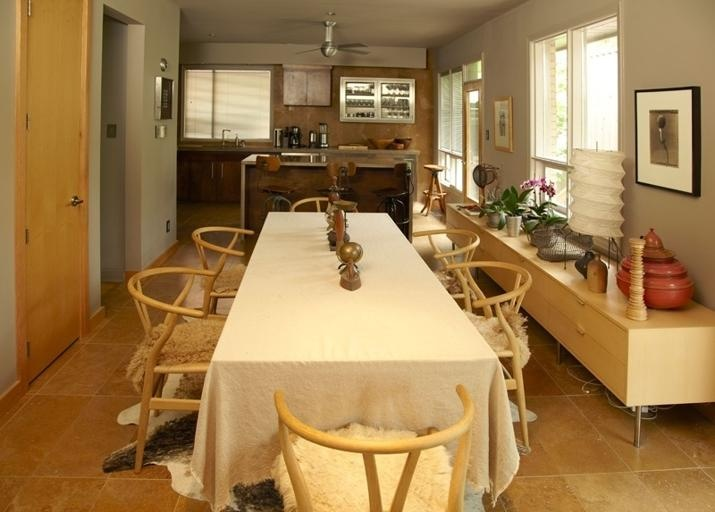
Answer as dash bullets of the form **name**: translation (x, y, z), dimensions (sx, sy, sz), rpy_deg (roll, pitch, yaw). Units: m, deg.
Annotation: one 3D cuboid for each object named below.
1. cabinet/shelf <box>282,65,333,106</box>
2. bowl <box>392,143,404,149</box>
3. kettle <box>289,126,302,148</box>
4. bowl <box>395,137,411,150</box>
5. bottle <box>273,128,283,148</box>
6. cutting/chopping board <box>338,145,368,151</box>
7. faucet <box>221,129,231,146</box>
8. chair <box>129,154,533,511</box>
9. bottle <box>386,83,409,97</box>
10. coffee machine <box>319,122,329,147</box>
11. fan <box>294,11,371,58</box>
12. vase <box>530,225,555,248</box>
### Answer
- **cabinet/shelf**: translation (-1.002, -3.360, 9.970), dimensions (0.669, 0.597, 0.245), rpy_deg (0, 7, -4)
- **bowl**: translation (0.779, -2.136, 9.924), dimensions (0.179, 0.109, 0.186), rpy_deg (0, 16, 0)
- **kettle**: translation (-1.235, -2.355, 10.087), dimensions (0.290, 0.396, 0.179), rpy_deg (-7, 17, -24)
- **bowl**: translation (0.893, -2.231, 10.062), dimensions (0.290, 0.198, 0.299), rpy_deg (-1, 11, 0)
- **bottle**: translation (-1.564, -2.346, 10.097), dimensions (0.191, 0.339, 0.245), rpy_deg (-3, 16, -9)
- **cutting/chopping board**: translation (-0.091, -2.096, 9.879), dimensions (0.568, 0.072, 0.733), rpy_deg (-1, 16, -4)
- **faucet**: translation (-2.687, -2.422, 10.331), dimensions (0.171, 0.298, 0.400), rpy_deg (-1, 16, -4)
- **chair**: translation (-0.143, 0.504, 2.785), dimensions (1.324, 0.681, 1.771), rpy_deg (-3, 16, -11)
- **bottle**: translation (0.761, -3.310, 10.135), dimensions (0.511, 0.240, 0.084), rpy_deg (1, 15, 2)
- **coffee machine**: translation (-0.690, -2.400, 10.089), dimensions (0.175, 0.470, 0.293), rpy_deg (-1, 15, -5)
- **fan**: translation (-0.420, -3.179, 7.532), dimensions (0.930, 0.485, 0.987), rpy_deg (1, 9, 26)
- **vase**: translation (1.559, -0.168, 4.306), dimensions (0.185, 0.141, 0.169), rpy_deg (-10, 15, -33)
